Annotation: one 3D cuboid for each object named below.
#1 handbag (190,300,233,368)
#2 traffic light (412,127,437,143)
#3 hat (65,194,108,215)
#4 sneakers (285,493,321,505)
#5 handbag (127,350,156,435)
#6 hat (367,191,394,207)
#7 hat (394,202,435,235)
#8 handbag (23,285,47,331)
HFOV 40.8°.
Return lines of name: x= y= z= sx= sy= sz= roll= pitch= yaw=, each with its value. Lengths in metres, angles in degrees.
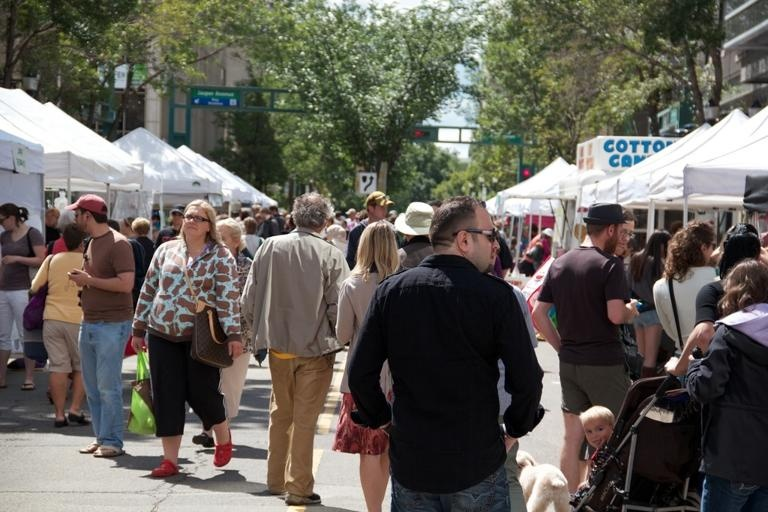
handbag: x=-1.955 y=0.870 z=11.610 sx=0.179 sy=0.603 sz=0.537 roll=-15 pitch=-28 yaw=34
traffic light: x=1.755 y=-5.473 z=45.574 sx=0.988 sy=0.686 sz=1.616 roll=-4 pitch=6 yaw=6
hat: x=-3.553 y=-0.623 z=12.396 sx=0.387 sy=0.259 sz=0.294 roll=1 pitch=1 yaw=3
sneakers: x=-0.892 y=2.640 z=11.224 sx=0.345 sy=0.163 sz=0.136 roll=3 pitch=1 yaw=-36
handbag: x=-2.832 y=1.608 z=11.911 sx=0.303 sy=0.976 sz=0.529 roll=-6 pitch=6 yaw=-16
hat: x=-0.097 y=-0.864 z=14.814 sx=0.305 sy=0.194 sz=0.233 roll=-6 pitch=-4 yaw=34
hat: x=0.335 y=-0.416 z=11.326 sx=0.348 sy=0.192 sz=0.370 roll=-2 pitch=28 yaw=-17
handbag: x=-4.713 y=0.749 z=13.971 sx=0.226 sy=0.725 sz=0.510 roll=4 pitch=4 yaw=-21
